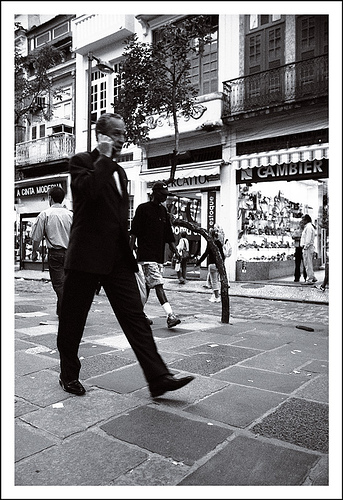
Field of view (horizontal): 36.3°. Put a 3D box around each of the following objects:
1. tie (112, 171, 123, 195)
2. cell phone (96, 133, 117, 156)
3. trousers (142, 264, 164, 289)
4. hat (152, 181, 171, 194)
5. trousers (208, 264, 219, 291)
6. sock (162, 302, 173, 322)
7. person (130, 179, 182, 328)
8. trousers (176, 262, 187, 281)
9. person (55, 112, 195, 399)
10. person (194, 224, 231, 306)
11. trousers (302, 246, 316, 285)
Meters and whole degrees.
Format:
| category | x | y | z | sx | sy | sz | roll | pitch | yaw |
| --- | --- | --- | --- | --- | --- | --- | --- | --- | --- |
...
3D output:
| category | x | y | z | sx | sy | sz | roll | pitch | yaw |
| --- | --- | --- | --- | --- | --- | --- | --- | --- | --- |
| tie | -0.351 | -0.448 | 3.421 | 0.039 | 0.200 | 0.037 | -6 | 2 | -40 |
| cell phone | -0.407 | -0.669 | 3.319 | 0.061 | 0.156 | 0.202 | -3 | 6 | -36 |
| trousers | -0.233 | 0.257 | 6.454 | 0.197 | 0.391 | 0.393 | -1 | 12 | -19 |
| hat | -0.147 | -0.747 | 6.279 | 0.118 | 0.115 | 0.174 | -2 | 3 | -28 |
| trousers | 0.839 | 0.526 | 10.409 | 0.182 | 0.525 | 0.185 | 1 | 4 | 10 |
| sock | -0.047 | 0.715 | 6.469 | 0.094 | 0.396 | 0.163 | -4 | 5 | -4 |
| person | -0.194 | 0.039 | 6.189 | 0.513 | 1.763 | 0.809 | 0 | -1 | -22 |
| trousers | 0.305 | 0.620 | 15.193 | 0.220 | 0.522 | 0.726 | 0 | 5 | 0 |
| person | -0.352 | 0.029 | 3.445 | 0.861 | 1.881 | 0.623 | -1 | -2 | 21 |
| person | 0.823 | 0.200 | 10.416 | 0.577 | 1.475 | 0.574 | 7 | 16 | 11 |
| trousers | 3.797 | 0.385 | 14.499 | 0.296 | 1.095 | 1.161 | 1 | 5 | 15 |
